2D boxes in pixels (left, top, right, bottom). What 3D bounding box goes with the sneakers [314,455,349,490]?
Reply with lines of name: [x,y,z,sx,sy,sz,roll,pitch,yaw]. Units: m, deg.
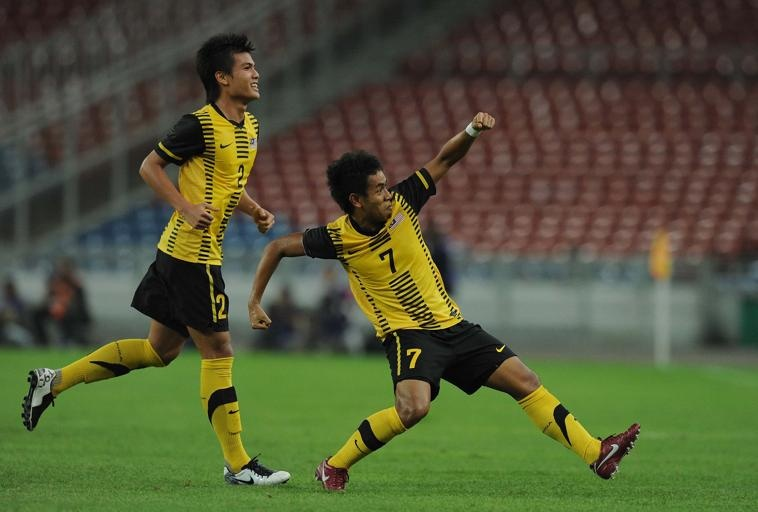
sneakers: [-0.385,1.816,7.971,0.135,0.367,0.182,-10,-31,-39]

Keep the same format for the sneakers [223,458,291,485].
sneakers: [-1.016,1.808,8.181,0.612,0.237,0.205,0,-9,3]

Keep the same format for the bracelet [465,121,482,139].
bracelet: [0.811,-1.098,8.353,0.124,0.109,0.155,23,8,-1]
